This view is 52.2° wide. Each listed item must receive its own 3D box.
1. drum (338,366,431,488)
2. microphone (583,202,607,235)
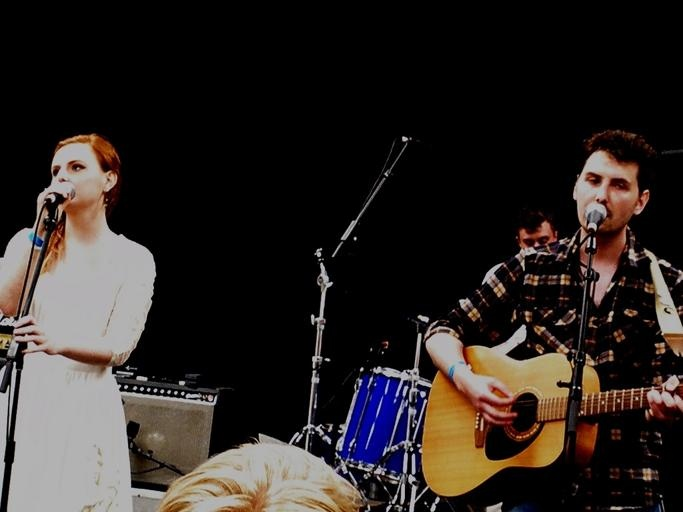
[{"bbox_3d":[0.371,1.346,5.414,0.670,0.765,0.767,16,-18,7],"label":"drum"},{"bbox_3d":[1.052,-0.158,2.884,0.077,0.156,0.078,-1,-15,21],"label":"microphone"}]
